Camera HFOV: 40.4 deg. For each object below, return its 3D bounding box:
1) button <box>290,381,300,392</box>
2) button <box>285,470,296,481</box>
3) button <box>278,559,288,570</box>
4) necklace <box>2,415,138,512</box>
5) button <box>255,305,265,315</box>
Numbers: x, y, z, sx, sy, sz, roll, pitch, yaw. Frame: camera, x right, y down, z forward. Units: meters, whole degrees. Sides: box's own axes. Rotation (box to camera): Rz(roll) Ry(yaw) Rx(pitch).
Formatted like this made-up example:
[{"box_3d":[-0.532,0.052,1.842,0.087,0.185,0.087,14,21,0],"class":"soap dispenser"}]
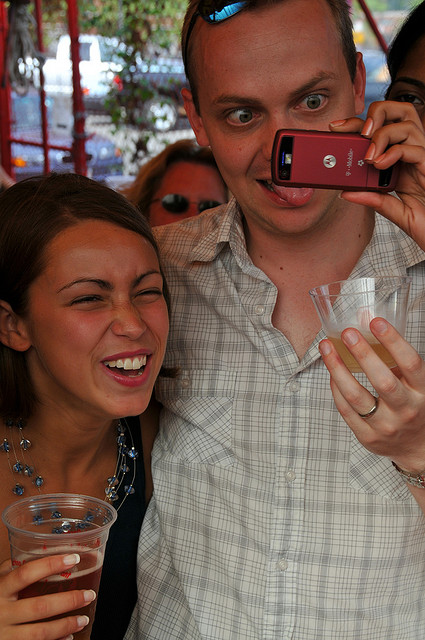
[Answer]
[{"box_3d":[0.228,0.185,1.595,0.025,0.021,0.019,4,26,-1],"class":"button"},{"box_3d":[0.210,0.416,1.547,0.028,0.022,0.015,5,27,2],"class":"button"},{"box_3d":[0.186,0.640,1.518,0.025,0.022,0.015,5,27,1],"class":"button"},{"box_3d":[-0.416,0.423,1.750,0.395,0.308,0.194,-8,29,-23],"class":"necklace"},{"box_3d":[0.140,-0.030,1.691,0.027,0.024,0.006,14,2,34],"class":"button"}]
